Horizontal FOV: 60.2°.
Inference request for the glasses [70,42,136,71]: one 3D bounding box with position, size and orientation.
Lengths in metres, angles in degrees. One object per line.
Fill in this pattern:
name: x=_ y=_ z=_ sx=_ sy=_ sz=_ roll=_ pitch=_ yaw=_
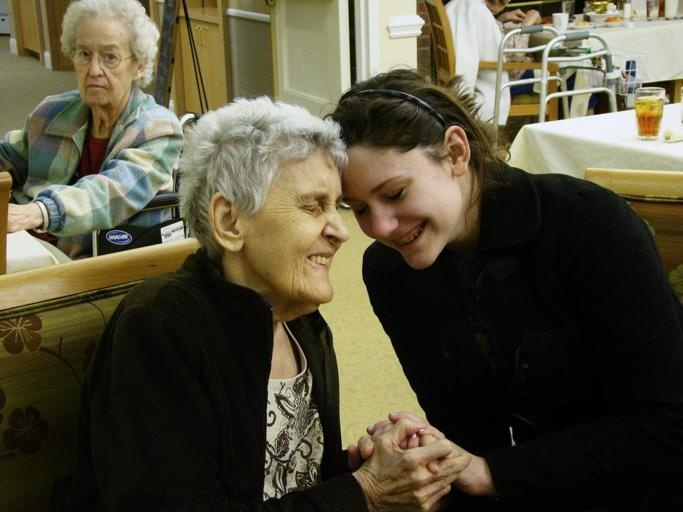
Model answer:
glasses: x=-1.182 y=-0.949 z=2.828 sx=0.283 sy=0.110 sz=0.134 roll=1 pitch=14 yaw=14
